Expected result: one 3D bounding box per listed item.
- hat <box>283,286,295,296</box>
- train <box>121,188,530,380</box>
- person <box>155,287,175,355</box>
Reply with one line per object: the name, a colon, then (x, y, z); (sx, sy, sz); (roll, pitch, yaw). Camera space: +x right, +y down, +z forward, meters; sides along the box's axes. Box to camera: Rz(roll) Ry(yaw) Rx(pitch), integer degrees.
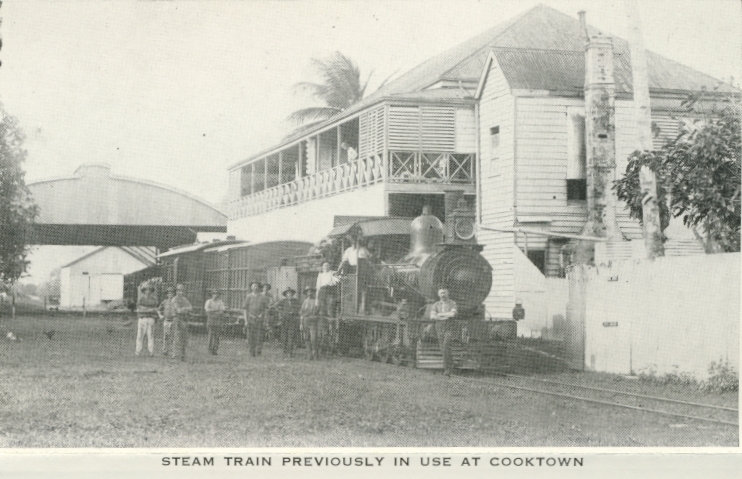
hat: (-2.125, 1.337, 23.012); (0.247, 0.252, 0.066); (-15, -3, 3)
train: (-2.278, 1.434, 24.122); (11.783, 4.285, 4.151); (-6, -7, 42)
person: (-5.079, 2.071, 22.061); (0.441, 1.646, 0.260); (2, -6, 0)
